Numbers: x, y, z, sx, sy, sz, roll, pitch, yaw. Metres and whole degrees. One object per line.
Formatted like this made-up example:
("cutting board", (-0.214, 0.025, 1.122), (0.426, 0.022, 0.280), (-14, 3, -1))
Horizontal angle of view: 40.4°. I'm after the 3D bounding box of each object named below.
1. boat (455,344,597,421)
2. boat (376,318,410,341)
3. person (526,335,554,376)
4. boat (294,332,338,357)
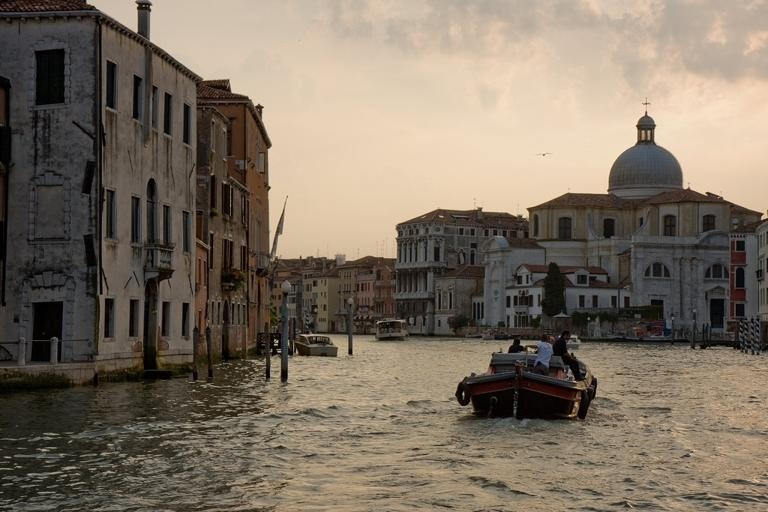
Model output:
("boat", (5.218, 4.731, 38.369), (3.181, 1.448, 5.428), (1, -3, 16))
("boat", (0.826, 8.756, 123.327), (3.393, 2.772, 4.518), (0, -9, -3))
("person", (5.622, 3.621, 36.742), (0.808, 1.739, 0.789), (2, 14, -9))
("boat", (-4.907, 6.361, 74.572), (2.262, 1.859, 4.286), (2, -9, -14))
